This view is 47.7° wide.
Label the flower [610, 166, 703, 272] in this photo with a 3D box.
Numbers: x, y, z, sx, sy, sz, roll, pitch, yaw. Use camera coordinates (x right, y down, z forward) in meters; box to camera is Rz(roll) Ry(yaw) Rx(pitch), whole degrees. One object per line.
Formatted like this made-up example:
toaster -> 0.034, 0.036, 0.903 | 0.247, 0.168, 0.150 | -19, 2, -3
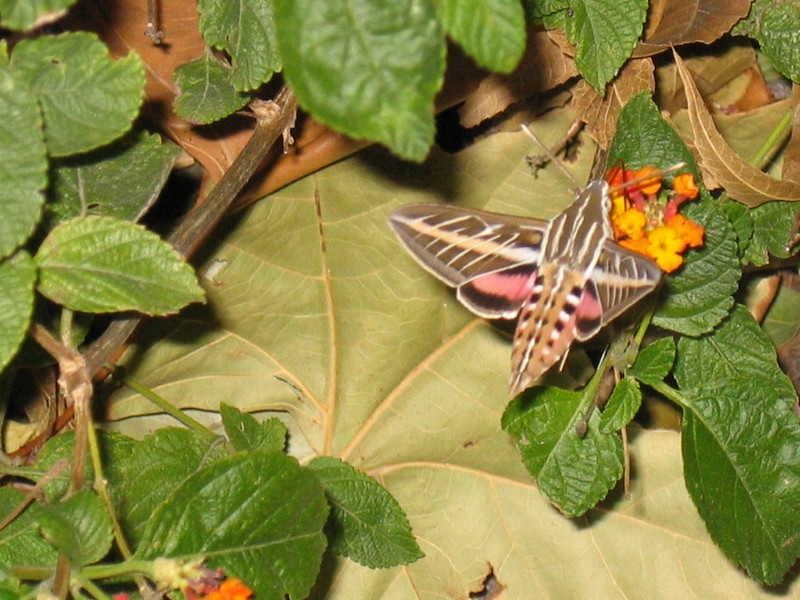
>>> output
flower -> 0.667, -0.158, 2.289 | 0.202, 0.112, 0.210 | 12, -11, -23
